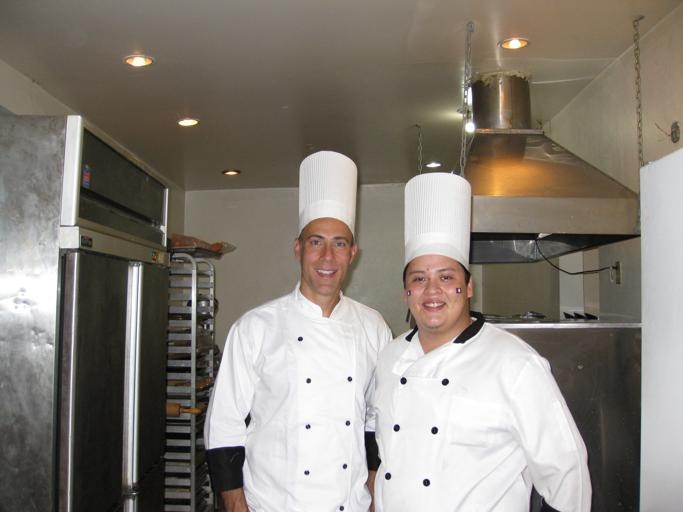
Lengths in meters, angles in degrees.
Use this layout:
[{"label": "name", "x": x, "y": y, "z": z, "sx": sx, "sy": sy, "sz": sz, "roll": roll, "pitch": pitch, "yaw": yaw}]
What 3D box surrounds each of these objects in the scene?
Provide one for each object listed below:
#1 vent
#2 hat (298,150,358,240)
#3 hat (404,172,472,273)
[{"label": "vent", "x": 0.788, "y": -0.480, "z": 2.867, "sx": 1.018, "sy": 0.817, "sz": 0.955, "roll": 1, "pitch": -1, "yaw": 0}, {"label": "hat", "x": -0.045, "y": -0.219, "z": 2.151, "sx": 0.258, "sy": 0.290, "sz": 0.242, "roll": 2, "pitch": -10, "yaw": -16}, {"label": "hat", "x": 0.338, "y": -0.116, "z": 1.973, "sx": 0.211, "sy": 0.271, "sz": 0.252, "roll": 3, "pitch": -14, "yaw": 4}]
